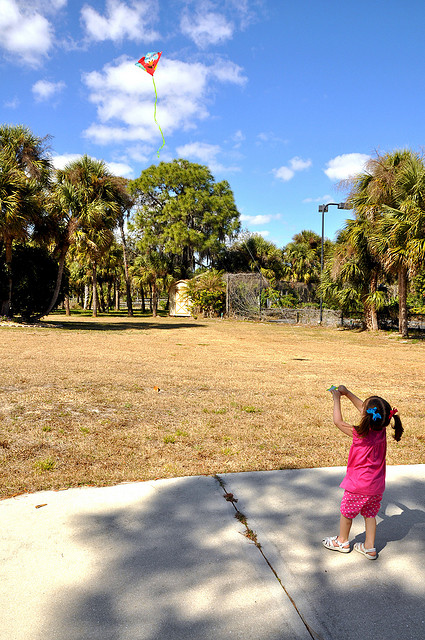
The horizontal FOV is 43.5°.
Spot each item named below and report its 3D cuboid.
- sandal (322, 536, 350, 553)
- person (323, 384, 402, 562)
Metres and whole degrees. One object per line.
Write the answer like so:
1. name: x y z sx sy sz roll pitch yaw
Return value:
1. sandal: 0.683 1.228 2.953 0.123 0.057 0.068 10 -2 26
2. person: 0.854 0.838 3.057 0.418 0.906 0.431 3 3 20
